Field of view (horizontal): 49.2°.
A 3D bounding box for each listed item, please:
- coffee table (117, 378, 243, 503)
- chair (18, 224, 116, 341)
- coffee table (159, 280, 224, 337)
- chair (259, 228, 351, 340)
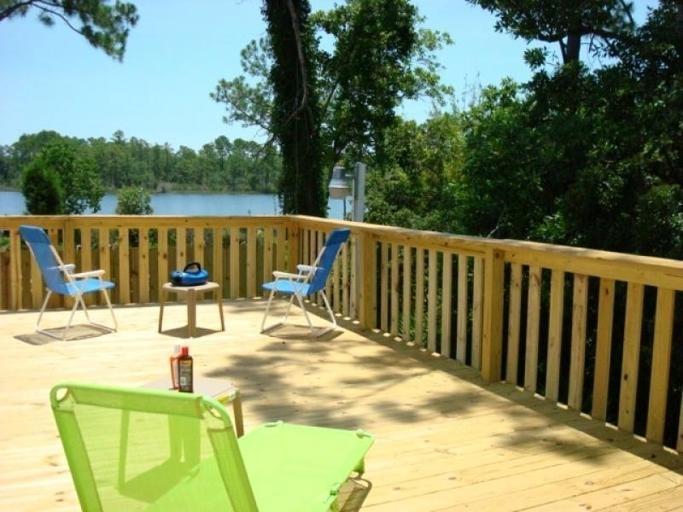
[{"bbox_3d":[-0.917,1.176,5.022,0.624,0.535,0.530,-2,3,-29],"label":"coffee table"},{"bbox_3d":[-2.740,0.234,7.479,0.663,1.179,0.841,7,11,38],"label":"chair"},{"bbox_3d":[-1.520,0.516,7.481,0.665,0.490,0.697,-2,-7,1],"label":"coffee table"},{"bbox_3d":[-0.410,0.229,7.504,0.776,0.991,0.630,3,5,28],"label":"chair"}]
